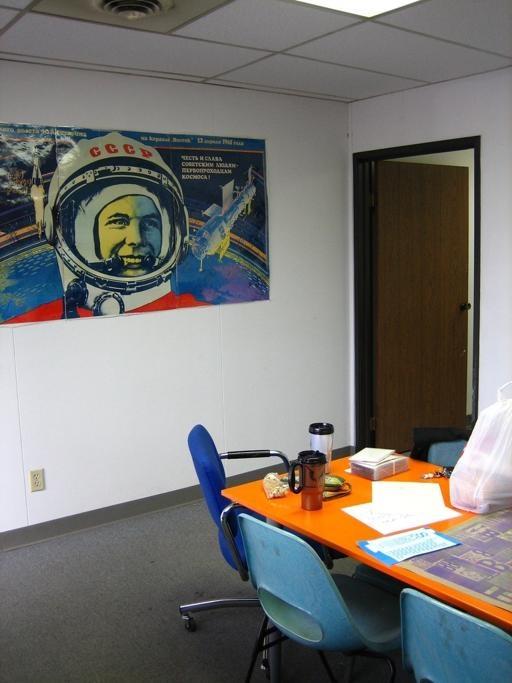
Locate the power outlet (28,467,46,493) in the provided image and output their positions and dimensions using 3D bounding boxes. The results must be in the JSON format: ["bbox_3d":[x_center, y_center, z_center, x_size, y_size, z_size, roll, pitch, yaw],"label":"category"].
[{"bbox_3d":[-1.238,0.767,2.937,0.109,0.113,0.027,-1,-1,19],"label":"power outlet"}]

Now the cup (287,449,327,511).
[{"bbox_3d":[0.157,0.414,1.580,0.112,0.166,0.118,-1,3,0],"label":"cup"}]

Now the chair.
[{"bbox_3d":[0.276,0.687,1.818,0.849,0.761,0.847,-11,14,-19],"label":"chair"}]

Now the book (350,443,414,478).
[{"bbox_3d":[0.460,0.430,1.913,0.144,0.048,0.112,-13,18,-39],"label":"book"}]
